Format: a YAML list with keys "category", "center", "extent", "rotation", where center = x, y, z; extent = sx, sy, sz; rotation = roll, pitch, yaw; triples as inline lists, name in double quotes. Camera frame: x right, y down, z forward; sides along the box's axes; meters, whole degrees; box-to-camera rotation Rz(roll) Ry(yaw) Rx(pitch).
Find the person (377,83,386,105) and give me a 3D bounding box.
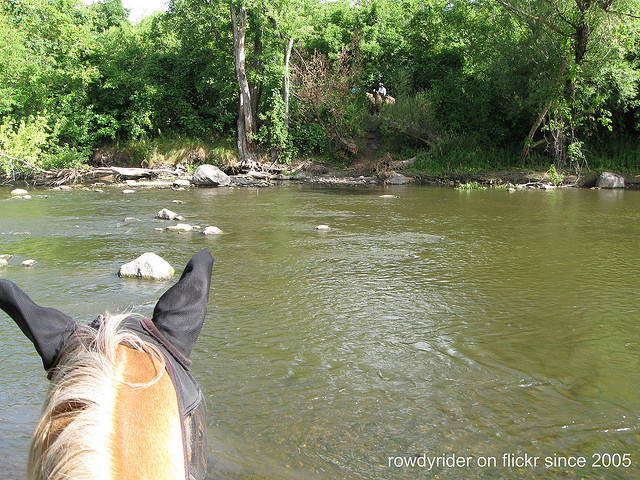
- category: "person"
  center: [4.369, -10.268, 41.836]
  extent: [0.453, 1.311, 1.059]
  rotation: [2, 13, 5]
